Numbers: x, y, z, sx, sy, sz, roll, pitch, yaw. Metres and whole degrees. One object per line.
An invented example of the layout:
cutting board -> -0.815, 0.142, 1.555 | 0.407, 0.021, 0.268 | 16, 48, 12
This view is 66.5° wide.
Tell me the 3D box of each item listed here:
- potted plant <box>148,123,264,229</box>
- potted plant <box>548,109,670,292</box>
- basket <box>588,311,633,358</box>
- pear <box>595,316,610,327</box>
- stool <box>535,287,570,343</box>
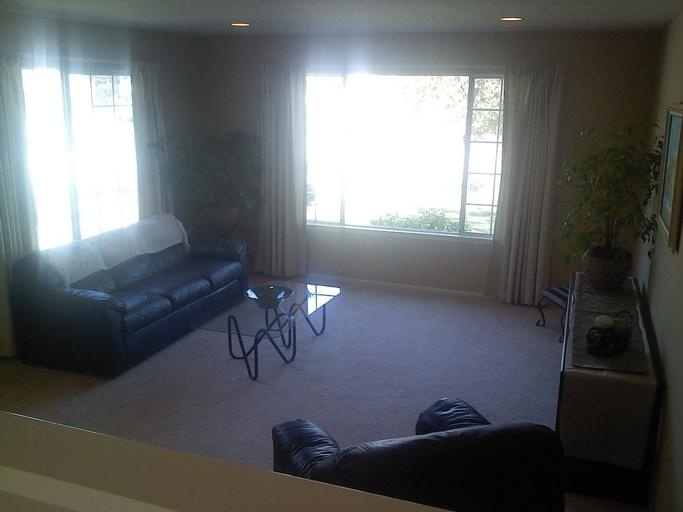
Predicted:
potted plant -> -0.929, -0.540, 3.615 | 0.698, 0.656, 0.231 | 1, 13, -7
potted plant -> 1.682, -0.358, 3.491 | 0.514, 0.906, 0.604 | 23, -9, -34
basket -> 1.369, 0.407, 2.660 | 0.170, 0.127, 0.120 | -36, 27, -28
pear -> 1.314, 0.323, 2.645 | 0.055, 0.032, 0.056 | -14, 17, -8
stool -> 1.511, 0.386, 3.913 | 0.339, 0.320, 0.350 | 6, 23, 22
